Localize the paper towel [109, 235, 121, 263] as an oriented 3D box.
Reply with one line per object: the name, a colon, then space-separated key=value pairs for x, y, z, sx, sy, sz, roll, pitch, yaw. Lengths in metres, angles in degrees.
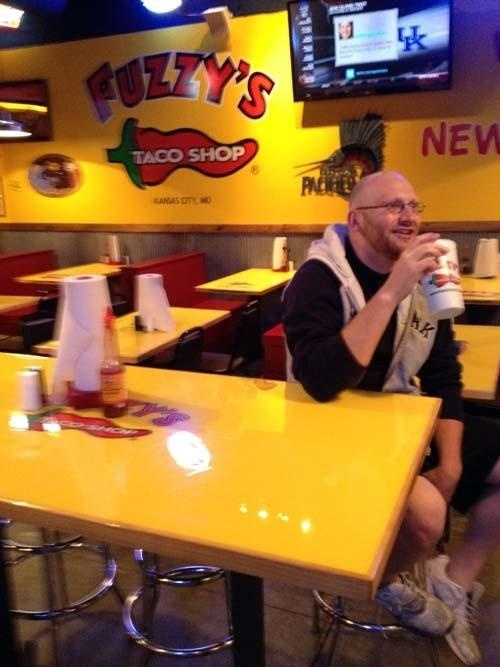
paper towel: x=-1.425 y=-0.874 z=5.709 sx=0.114 sy=0.281 sz=0.190 roll=-4 pitch=12 yaw=-15

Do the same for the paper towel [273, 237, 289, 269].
paper towel: x=0.283 y=-0.738 z=5.031 sx=0.148 sy=0.386 sz=0.291 roll=4 pitch=9 yaw=14

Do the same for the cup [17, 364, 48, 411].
cup: x=-0.513 y=0.132 z=1.280 sx=0.069 sy=0.097 sz=0.062 roll=12 pitch=22 yaw=20

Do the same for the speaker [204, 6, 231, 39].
speaker: x=-0.280 y=-2.795 z=4.949 sx=0.239 sy=0.249 sz=0.259 roll=-17 pitch=43 yaw=-14

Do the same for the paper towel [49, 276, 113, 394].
paper towel: x=-0.394 y=0.005 z=1.341 sx=0.125 sy=0.268 sz=0.110 roll=1 pitch=-1 yaw=-33

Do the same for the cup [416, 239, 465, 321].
cup: x=0.463 y=-0.143 z=1.352 sx=0.119 sy=0.161 sz=0.110 roll=-4 pitch=-4 yaw=0

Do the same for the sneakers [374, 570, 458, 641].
sneakers: x=0.450 y=0.719 z=1.474 sx=0.330 sy=0.107 sz=0.129 roll=33 pitch=-30 yaw=-30

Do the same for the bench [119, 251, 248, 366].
bench: x=-0.431 y=-0.181 z=3.815 sx=0.533 sy=0.826 sz=0.914 roll=9 pitch=22 yaw=20
